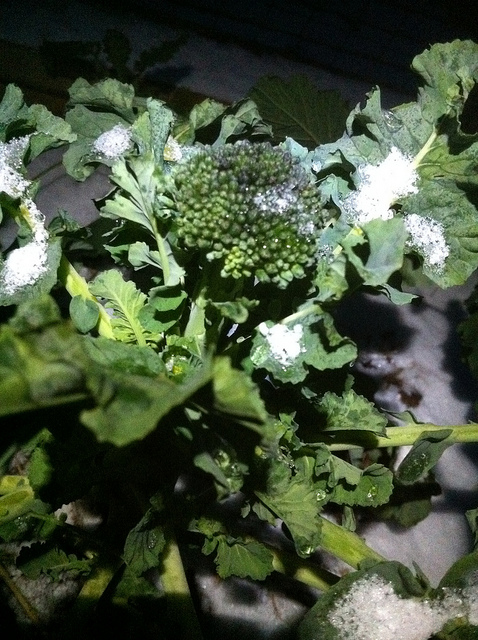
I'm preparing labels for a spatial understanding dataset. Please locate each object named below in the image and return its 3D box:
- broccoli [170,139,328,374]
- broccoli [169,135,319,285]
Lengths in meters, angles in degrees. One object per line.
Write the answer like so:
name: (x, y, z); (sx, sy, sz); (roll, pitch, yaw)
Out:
broccoli: (0.001, -0.090, 0.734); (0.216, 0.295, 0.125); (9, 23, -12)
broccoli: (0.014, -0.148, 0.752); (0.190, 0.202, 0.137); (0, 17, -3)
